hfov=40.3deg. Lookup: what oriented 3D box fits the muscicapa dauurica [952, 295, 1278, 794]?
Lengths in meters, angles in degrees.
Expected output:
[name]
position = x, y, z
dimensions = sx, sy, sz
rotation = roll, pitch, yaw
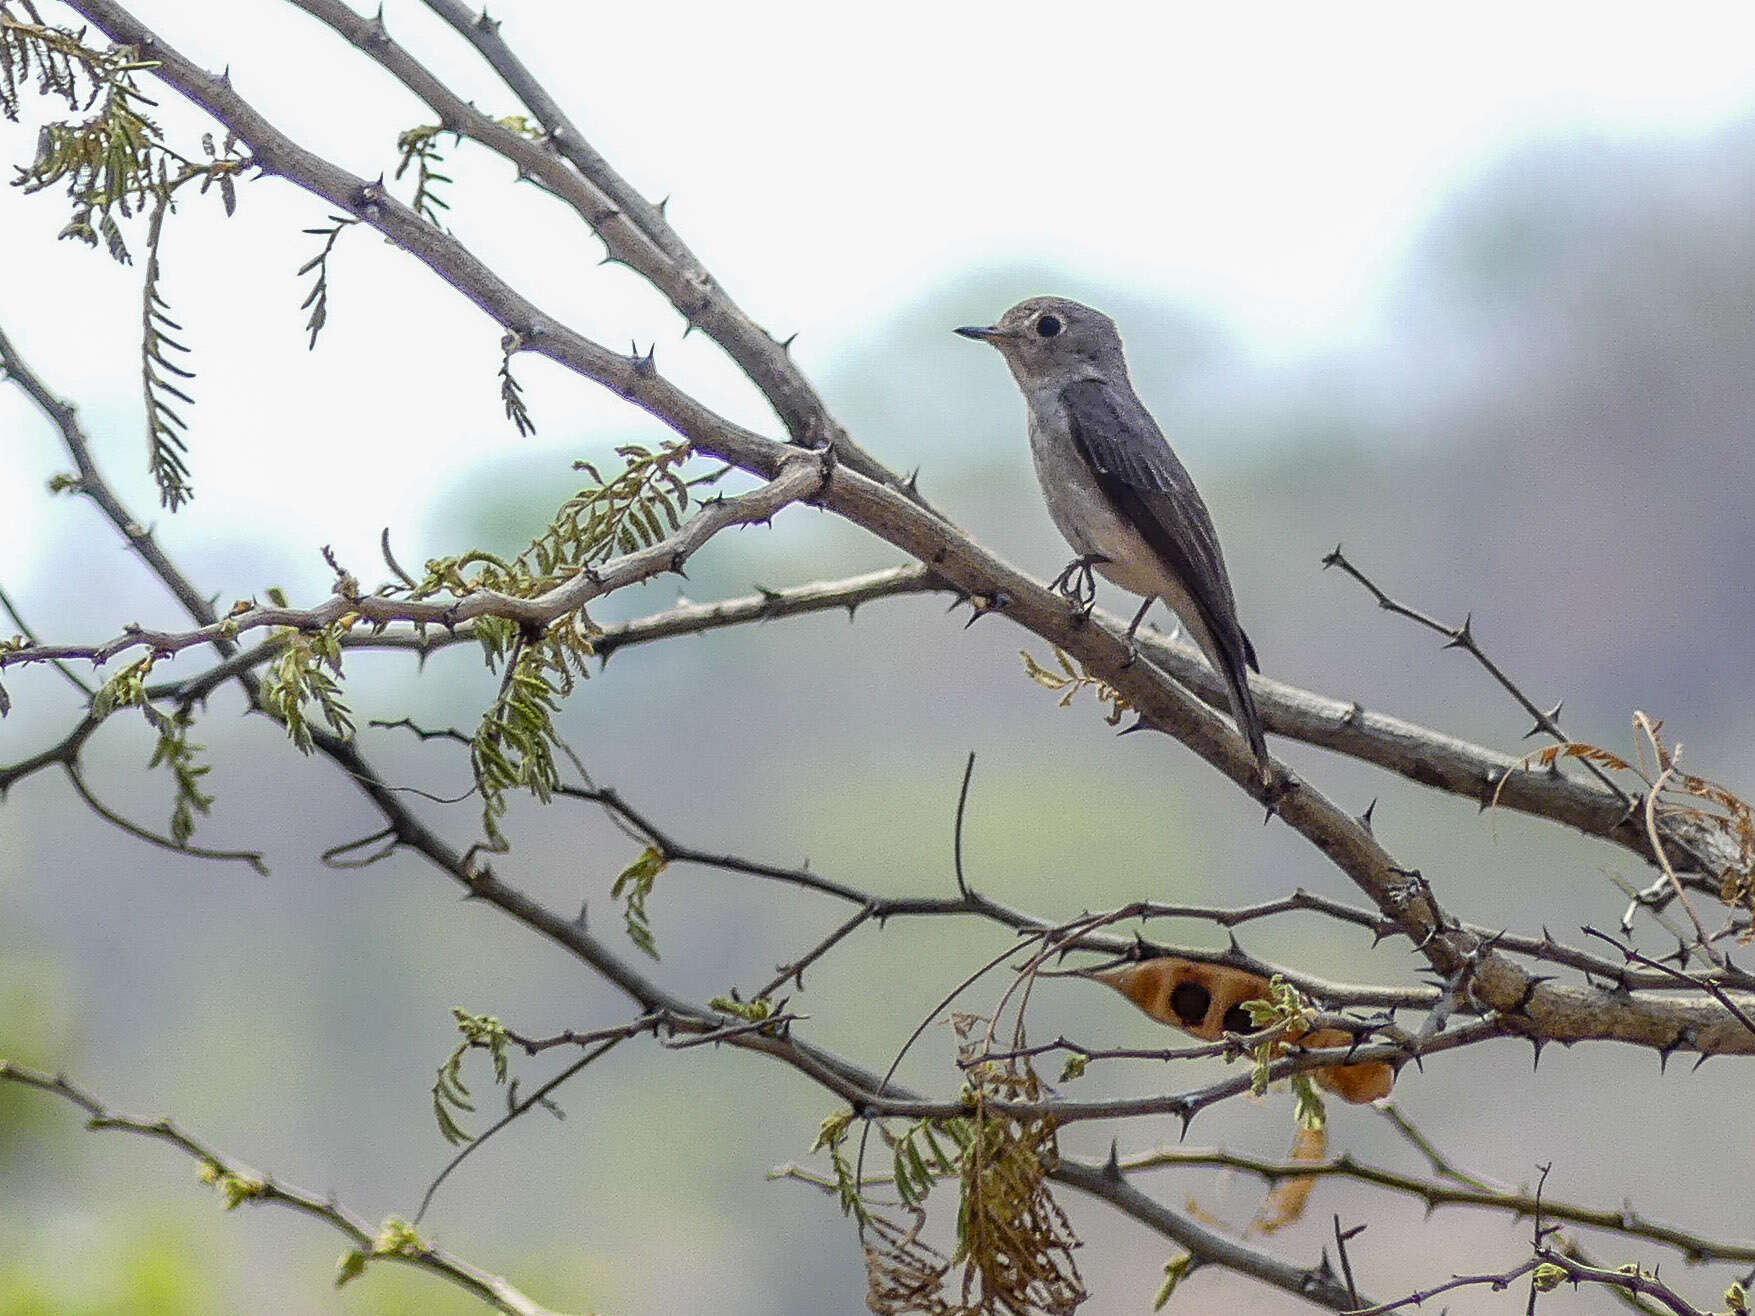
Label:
[muscicapa dauurica]
position = 0.615, -0.313, 6.308
dimensions = 0.806, 0.373, 1.409
rotation = 7, 64, -7
